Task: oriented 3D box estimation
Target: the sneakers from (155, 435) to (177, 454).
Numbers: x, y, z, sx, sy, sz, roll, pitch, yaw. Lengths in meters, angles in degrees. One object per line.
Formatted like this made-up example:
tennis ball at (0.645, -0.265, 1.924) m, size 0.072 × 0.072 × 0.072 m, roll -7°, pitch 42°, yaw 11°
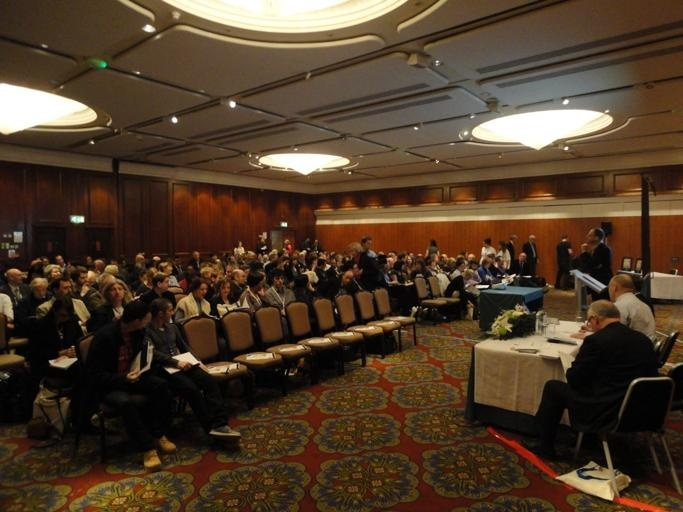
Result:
sneakers at (-1.823, 1.981, 4.935) m, size 0.281 × 0.103 × 0.099 m, roll 20°, pitch 7°, yaw 22°

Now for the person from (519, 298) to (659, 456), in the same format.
person at (2.629, 1.333, 4.731) m, size 1.219 × 1.644 × 1.011 m, roll 0°, pitch -3°, yaw 43°

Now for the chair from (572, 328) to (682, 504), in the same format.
chair at (2.330, 1.552, 4.598) m, size 1.111 × 1.501 × 1.158 m, roll -2°, pitch 1°, yaw -9°

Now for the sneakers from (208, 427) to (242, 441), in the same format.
sneakers at (-1.205, 1.861, 4.944) m, size 0.376 × 0.139 × 0.135 m, roll 0°, pitch -8°, yaw 8°

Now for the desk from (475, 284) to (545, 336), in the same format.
desk at (3.120, 0.821, 8.704) m, size 1.045 × 0.711 × 1.599 m, roll 1°, pitch 2°, yaw 31°

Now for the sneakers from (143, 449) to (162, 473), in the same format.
sneakers at (-1.879, 2.030, 4.640) m, size 0.154 × 0.146 × 0.186 m, roll -6°, pitch 12°, yaw -25°

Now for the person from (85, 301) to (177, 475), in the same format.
person at (-2.095, 1.281, 4.785) m, size 0.677 × 1.572 × 0.789 m, roll -13°, pitch 17°, yaw -43°
